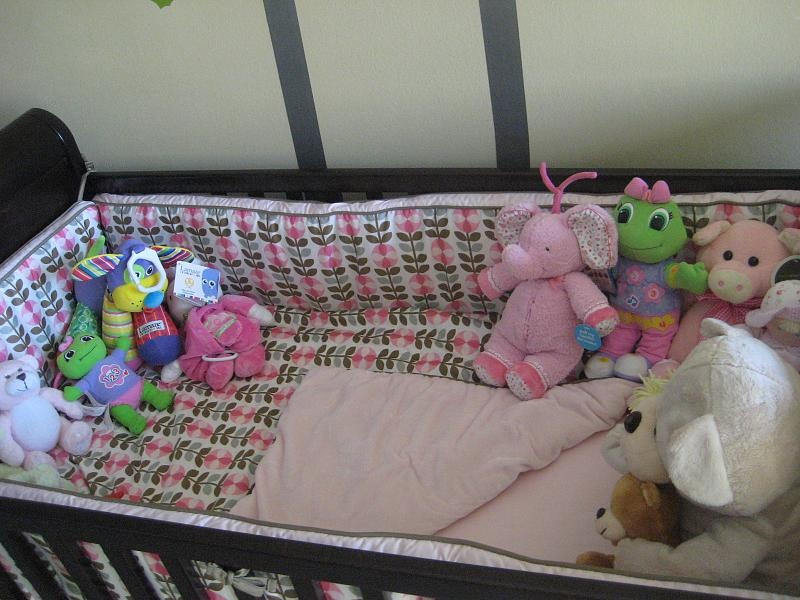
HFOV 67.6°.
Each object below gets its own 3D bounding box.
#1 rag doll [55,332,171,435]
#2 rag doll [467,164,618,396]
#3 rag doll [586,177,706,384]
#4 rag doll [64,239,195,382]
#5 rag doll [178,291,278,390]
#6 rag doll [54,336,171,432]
[{"bbox_3d":[-0.954,0.315,1.984,0.356,0.105,0.296,38,51,1],"label":"rag doll"},{"bbox_3d":[0.397,-0.062,1.771,0.386,0.635,0.496,-17,27,-26],"label":"rag doll"},{"bbox_3d":[0.681,-0.064,1.633,0.260,0.477,0.388,-39,48,-26],"label":"rag doll"},{"bbox_3d":[-0.992,-0.005,2.095,0.416,0.431,0.379,17,23,15],"label":"rag doll"},{"bbox_3d":[-0.605,0.136,2.067,0.297,0.151,0.336,-9,51,11],"label":"rag doll"},{"bbox_3d":[-0.979,0.326,2.044,0.354,0.105,0.293,38,52,1],"label":"rag doll"}]
